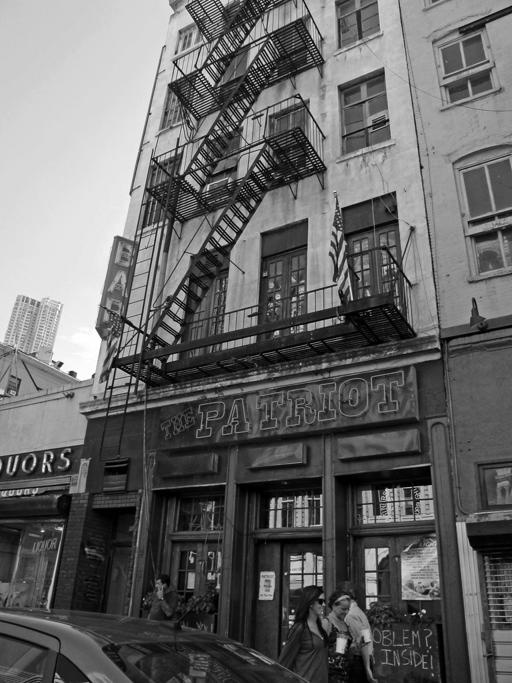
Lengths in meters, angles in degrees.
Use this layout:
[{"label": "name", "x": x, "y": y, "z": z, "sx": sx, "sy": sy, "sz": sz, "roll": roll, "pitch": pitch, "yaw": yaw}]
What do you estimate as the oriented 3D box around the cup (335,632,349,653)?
[{"label": "cup", "x": 0.831, "y": 2.947, "z": 5.619, "sx": 0.123, "sy": 0.221, "sz": 0.215, "roll": 6, "pitch": -17, "yaw": 3}]
